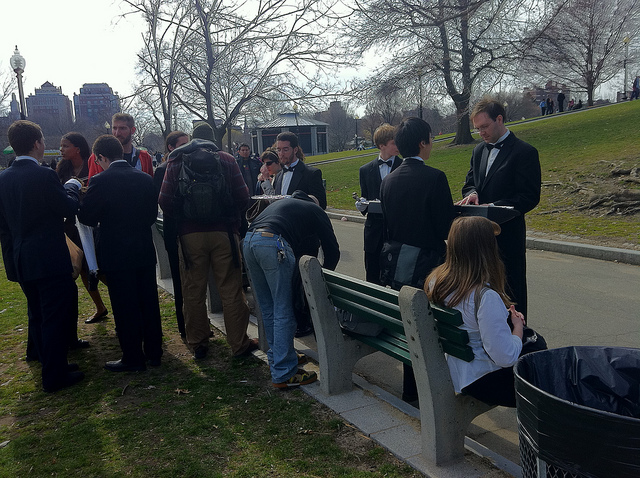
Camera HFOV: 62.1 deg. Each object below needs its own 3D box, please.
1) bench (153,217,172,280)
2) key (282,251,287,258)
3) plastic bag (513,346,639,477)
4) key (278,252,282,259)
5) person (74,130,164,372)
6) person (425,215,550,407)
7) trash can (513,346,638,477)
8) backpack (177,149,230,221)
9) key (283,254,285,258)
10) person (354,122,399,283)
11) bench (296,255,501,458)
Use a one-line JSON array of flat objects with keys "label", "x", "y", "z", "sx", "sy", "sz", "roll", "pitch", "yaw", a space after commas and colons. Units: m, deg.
[{"label": "bench", "x": -2.736, "y": 0.188, "z": 9.519, "sx": 0.260, "sy": 1.246, "sz": 0.366, "roll": -1, "pitch": -15, "yaw": -12}, {"label": "key", "x": -0.327, "y": 0.135, "z": 4.915, "sx": 0.011, "sy": 0.016, "sz": 0.064, "roll": -26, "pitch": 25, "yaw": -5}, {"label": "plastic bag", "x": 1.517, "y": 0.969, "z": 3.287, "sx": 0.872, "sy": 0.649, "sz": 0.752, "roll": 9, "pitch": 13, "yaw": 17}, {"label": "key", "x": -0.370, "y": 0.137, "z": 4.917, "sx": 0.044, "sy": 0.011, "sz": 0.043, "roll": -27, "pitch": 6, "yaw": 34}, {"label": "person", "x": -2.045, "y": 0.281, "z": 5.683, "sx": 0.792, "sy": 2.213, "sz": 0.459, "roll": -9, "pitch": 12, "yaw": -29}, {"label": "person", "x": 1.141, "y": 0.519, "z": 3.931, "sx": 0.667, "sy": 1.334, "sz": 0.409, "roll": 1, "pitch": 11, "yaw": 21}, {"label": "trash can", "x": 1.491, "y": 0.987, "z": 3.058, "sx": 0.770, "sy": 0.579, "sz": 0.666, "roll": 8, "pitch": 13, "yaw": 17}, {"label": "backpack", "x": -1.249, "y": -0.556, "z": 5.604, "sx": 0.681, "sy": 0.897, "sz": 0.468, "roll": -2, "pitch": 2, "yaw": -14}, {"label": "key", "x": -0.335, "y": 0.147, "z": 4.923, "sx": 0.008, "sy": 0.037, "sz": 0.039, "roll": 3, "pitch": -24, "yaw": -18}, {"label": "person", "x": 0.827, "y": -0.220, "z": 7.007, "sx": 0.795, "sy": 2.495, "sz": 0.679, "roll": -2, "pitch": 18, "yaw": 2}, {"label": "bench", "x": 0.844, "y": 0.917, "z": 4.981, "sx": 1.260, "sy": 1.442, "sz": 2.534, "roll": -5, "pitch": 4, "yaw": -21}]
